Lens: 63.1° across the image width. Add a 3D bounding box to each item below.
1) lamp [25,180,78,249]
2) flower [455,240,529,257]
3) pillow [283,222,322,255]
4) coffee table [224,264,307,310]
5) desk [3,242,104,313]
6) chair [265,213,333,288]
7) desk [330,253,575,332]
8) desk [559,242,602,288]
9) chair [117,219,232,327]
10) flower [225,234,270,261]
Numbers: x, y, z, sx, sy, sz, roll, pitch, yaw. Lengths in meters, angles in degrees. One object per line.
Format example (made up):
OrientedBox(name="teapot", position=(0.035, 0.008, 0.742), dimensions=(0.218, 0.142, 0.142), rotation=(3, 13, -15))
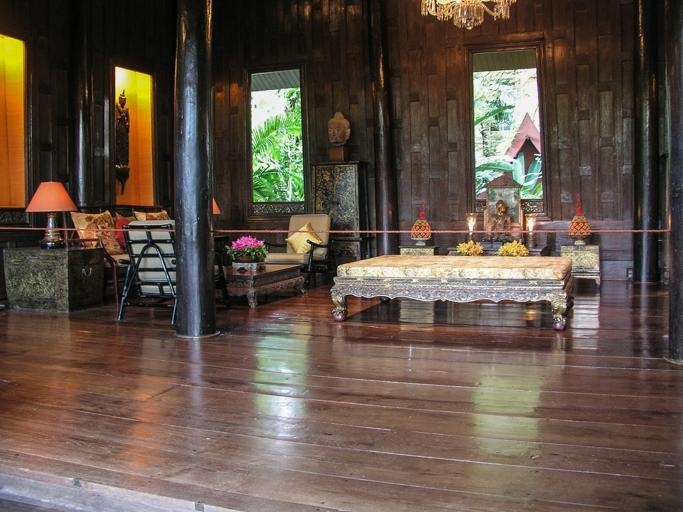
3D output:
OrientedBox(name="lamp", position=(-3.262, -0.489, 6.313), dimensions=(0.455, 0.731, 0.984), rotation=(-4, 6, -29))
OrientedBox(name="flower", position=(1.831, -0.077, 6.718), dimensions=(0.596, 0.171, 0.355), rotation=(0, 0, 7))
OrientedBox(name="pillow", position=(-0.501, -0.255, 7.964), dimensions=(0.464, 0.426, 0.638), rotation=(-2, 6, -15))
OrientedBox(name="coffee table", position=(-0.874, 0.315, 6.486), dimensions=(0.386, 0.410, 1.035), rotation=(3, 6, 30))
OrientedBox(name="desk", position=(-3.093, 0.195, 6.126), dimensions=(0.811, 0.562, 0.801), rotation=(0, 0, 22))
OrientedBox(name="chair", position=(-0.461, -0.122, 8.111), dimensions=(0.945, 1.235, 1.111), rotation=(1, 6, 23))
OrientedBox(name="desk", position=(1.090, 0.319, 5.335), dimensions=(2.066, 0.563, 0.957), rotation=(1, 6, 19))
OrientedBox(name="desk", position=(3.295, 0.085, 7.674), dimensions=(0.753, 0.686, 0.740), rotation=(0, 3, 19))
OrientedBox(name="chair", position=(-1.899, -0.056, 6.077), dimensions=(0.957, 0.988, 1.568), rotation=(4, 16, -1))
OrientedBox(name="flower", position=(-1.048, -0.071, 6.482), dimensions=(0.381, 0.198, 0.348), rotation=(0, -4, -3))
